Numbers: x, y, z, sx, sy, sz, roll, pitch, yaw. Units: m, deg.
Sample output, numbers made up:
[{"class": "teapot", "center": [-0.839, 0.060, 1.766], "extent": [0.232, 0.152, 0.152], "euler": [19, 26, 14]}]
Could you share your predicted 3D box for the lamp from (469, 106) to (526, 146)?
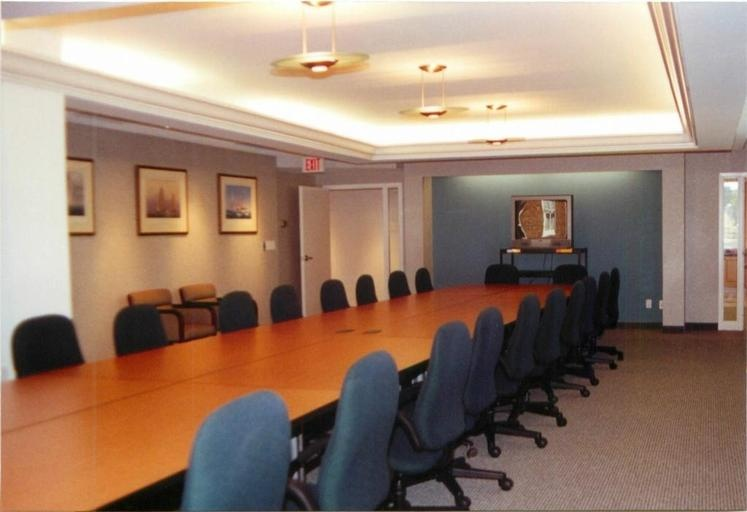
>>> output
[{"class": "lamp", "center": [1.856, -2.000, 8.669], "extent": [0.928, 0.657, 0.500], "euler": [-5, 9, -32]}]

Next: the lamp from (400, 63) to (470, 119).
[{"class": "lamp", "center": [0.710, -1.866, 6.579], "extent": [0.642, 0.472, 0.633], "euler": [0, 0, -12]}]

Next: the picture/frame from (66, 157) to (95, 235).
[{"class": "picture/frame", "center": [-3.427, -0.707, 6.686], "extent": [0.085, 0.899, 0.414], "euler": [0, 7, 19]}]
